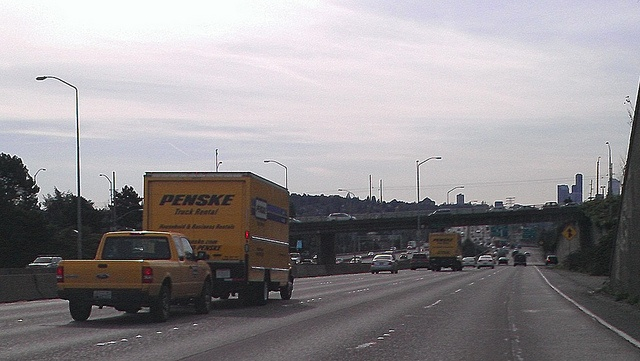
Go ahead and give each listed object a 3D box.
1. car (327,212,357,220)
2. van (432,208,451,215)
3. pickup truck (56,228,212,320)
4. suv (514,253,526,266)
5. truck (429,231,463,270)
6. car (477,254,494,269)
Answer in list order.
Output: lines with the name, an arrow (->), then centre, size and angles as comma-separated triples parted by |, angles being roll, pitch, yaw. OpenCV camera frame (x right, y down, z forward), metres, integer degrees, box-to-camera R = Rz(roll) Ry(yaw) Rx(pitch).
car -> 3.249, 5.630, 123.767 | 3.315, 0.992, 1.425 | -2, -1, -2
van -> 17.101, 4.388, 110.113 | 1.961, 0.786, 2.685 | 5, -8, -39
pickup truck -> -7.584, 3.853, 31.837 | 5.996, 3.623, 2.585 | 2, -6, -15
suv -> 28.734, 11.350, 111.955 | 1.442, 1.035, 2.317 | 0, 0, 17
truck -> 13.609, 7.803, 86.004 | 3.025, 2.764, 4.890 | -1, -9, 10
car -> 21.873, 10.735, 103.052 | 1.610, 0.968, 3.369 | 0, -2, 14
